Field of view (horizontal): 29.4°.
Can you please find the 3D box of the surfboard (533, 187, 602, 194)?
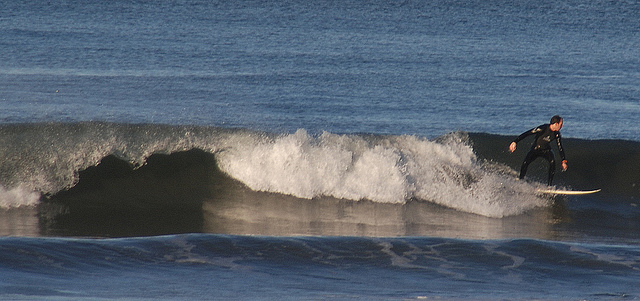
[{"bbox_3d":[12.443,2.067,61.657,3.506,0.320,0.224,-1,87,7],"label":"surfboard"}]
